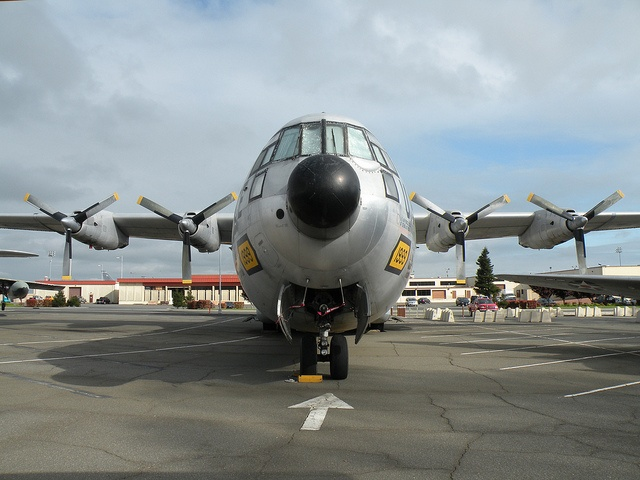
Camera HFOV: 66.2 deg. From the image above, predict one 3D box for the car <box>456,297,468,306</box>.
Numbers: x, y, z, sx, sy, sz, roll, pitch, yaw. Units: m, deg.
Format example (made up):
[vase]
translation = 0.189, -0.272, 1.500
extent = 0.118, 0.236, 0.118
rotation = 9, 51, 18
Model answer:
[car]
translation = 18.770, 8.071, 64.123
extent = 1.249, 0.903, 1.967
rotation = -1, -16, 2
